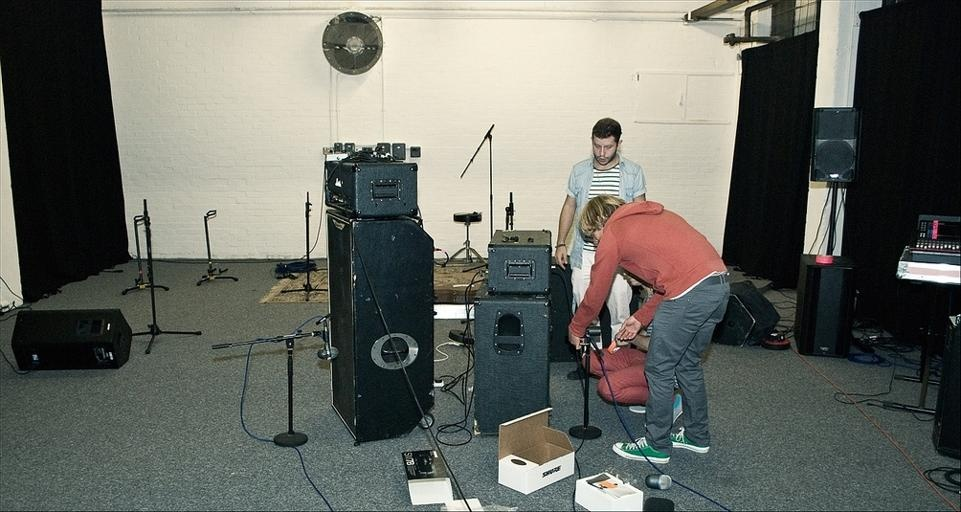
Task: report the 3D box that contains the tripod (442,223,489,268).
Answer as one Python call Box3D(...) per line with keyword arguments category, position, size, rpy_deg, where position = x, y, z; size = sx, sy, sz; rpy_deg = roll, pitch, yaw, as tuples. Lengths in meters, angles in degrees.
Box3D(category="tripod", position=(-0.204, -0.182, 13.276), size=(0.797, 0.655, 0.711), rpy_deg=(3, -1, -33))

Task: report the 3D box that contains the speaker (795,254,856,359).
Box3D(category="speaker", position=(4.277, 0.629, 9.959), size=(0.681, 1.238, 0.378), rpy_deg=(1, 9, 19))

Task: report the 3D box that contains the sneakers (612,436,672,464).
Box3D(category="sneakers", position=(1.682, 2.045, 8.467), size=(0.659, 0.214, 0.226), rpy_deg=(9, 2, 16))

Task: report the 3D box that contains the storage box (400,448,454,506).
Box3D(category="storage box", position=(-0.524, 2.226, 8.088), size=(0.482, 0.449, 0.347), rpy_deg=(-3, 8, -5))

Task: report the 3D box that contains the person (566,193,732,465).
Box3D(category="person", position=(1.797, 0.761, 8.287), size=(1.457, 2.757, 0.397), rpy_deg=(-1, 9, 11))

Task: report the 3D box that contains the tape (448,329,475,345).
Box3D(category="tape", position=(-0.226, 1.032, 10.084), size=(0.321, 0.062, 0.297), rpy_deg=(7, 5, -27))

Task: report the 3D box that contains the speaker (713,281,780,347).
Box3D(category="speaker", position=(3.446, 0.774, 10.331), size=(0.916, 0.565, 0.947), rpy_deg=(-15, -9, 37))

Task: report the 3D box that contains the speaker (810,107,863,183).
Box3D(category="speaker", position=(4.572, -1.428, 10.321), size=(0.583, 0.956, 0.303), rpy_deg=(0, 9, 17))

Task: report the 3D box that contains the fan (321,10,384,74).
Box3D(category="fan", position=(-2.017, -3.390, 12.831), size=(1.085, 0.891, 0.361), rpy_deg=(-3, 14, -2))

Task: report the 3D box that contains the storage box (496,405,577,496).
Box3D(category="storage box", position=(0.544, 2.024, 8.215), size=(0.906, 0.682, 0.482), rpy_deg=(-5, 6, -42))

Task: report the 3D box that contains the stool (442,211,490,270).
Box3D(category="stool", position=(0.008, -0.284, 13.047), size=(0.954, 1.013, 0.882), rpy_deg=(0, 2, -4))
